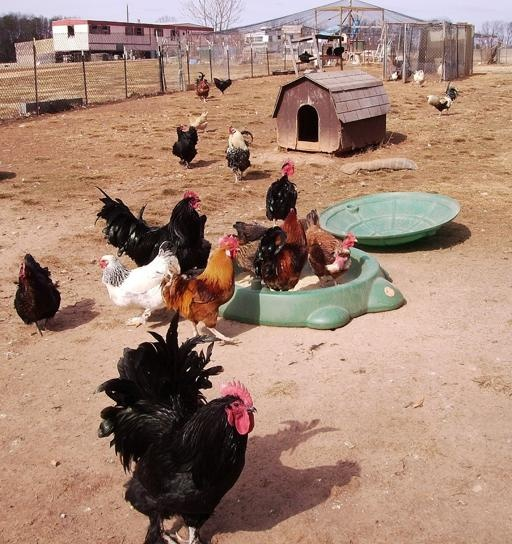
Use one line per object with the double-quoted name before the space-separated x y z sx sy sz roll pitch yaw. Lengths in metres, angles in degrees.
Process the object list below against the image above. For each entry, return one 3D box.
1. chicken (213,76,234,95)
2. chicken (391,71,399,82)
"chicken" -1.632 -9.032 24.028 0.685 0.713 1.468 -1 17 3
"chicken" 7.455 -10.576 26.661 0.450 0.528 0.911 4 18 16
